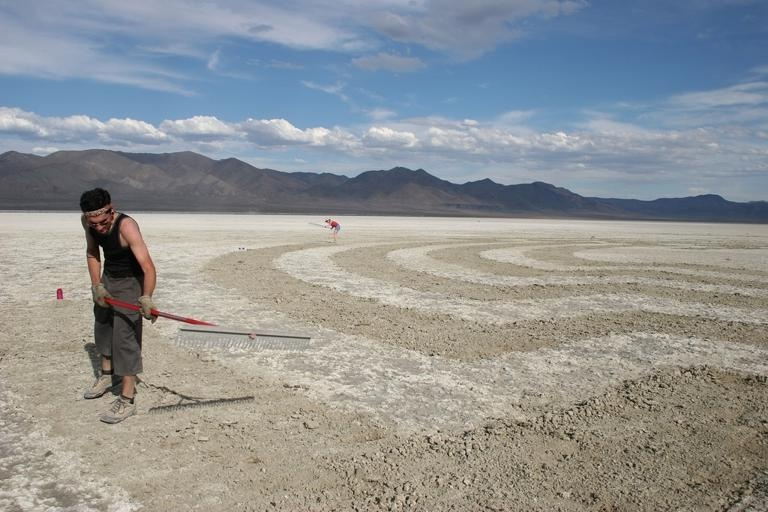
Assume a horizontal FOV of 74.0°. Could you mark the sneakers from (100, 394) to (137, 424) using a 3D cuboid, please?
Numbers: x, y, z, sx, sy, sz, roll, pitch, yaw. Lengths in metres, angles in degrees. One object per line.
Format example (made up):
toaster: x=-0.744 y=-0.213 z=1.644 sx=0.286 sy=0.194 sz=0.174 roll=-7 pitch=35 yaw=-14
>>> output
sneakers: x=-4.115 y=2.352 z=7.838 sx=0.294 sy=0.235 sz=0.615 roll=17 pitch=5 yaw=14

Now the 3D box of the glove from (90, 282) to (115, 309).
glove: x=-4.438 y=0.618 z=7.998 sx=0.256 sy=0.393 sz=0.330 roll=-3 pitch=14 yaw=-24

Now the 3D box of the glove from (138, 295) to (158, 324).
glove: x=-3.686 y=0.812 z=8.022 sx=0.225 sy=0.452 sz=0.374 roll=-25 pitch=-12 yaw=-29

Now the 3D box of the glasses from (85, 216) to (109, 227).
glasses: x=-4.403 y=-0.521 z=7.784 sx=0.353 sy=0.146 sz=0.192 roll=0 pitch=12 yaw=-9
